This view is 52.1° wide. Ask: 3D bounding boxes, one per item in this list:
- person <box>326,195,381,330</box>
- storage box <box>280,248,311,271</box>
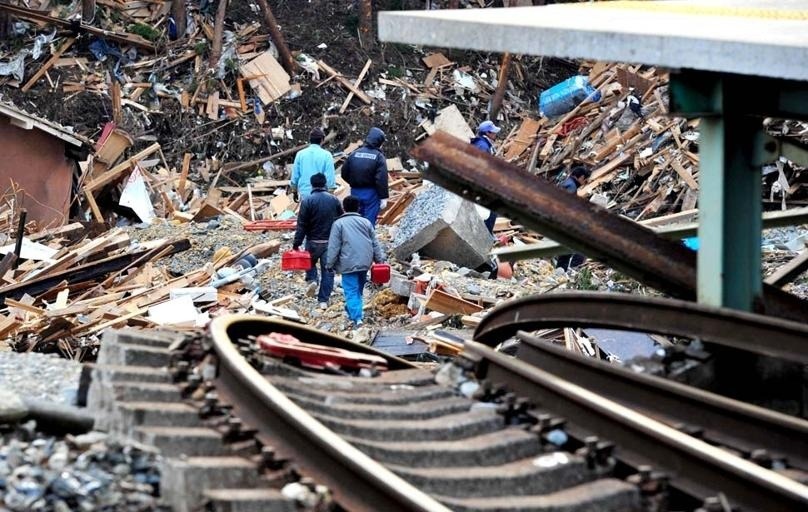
[{"bbox_3d":[-0.700,0.081,11.443,0.746,1.830,0.363,-1,9,-5],"label":"person"},{"bbox_3d":[-1.600,0.069,12.312,0.298,0.282,0.423,-2,-1,4],"label":"storage box"}]
